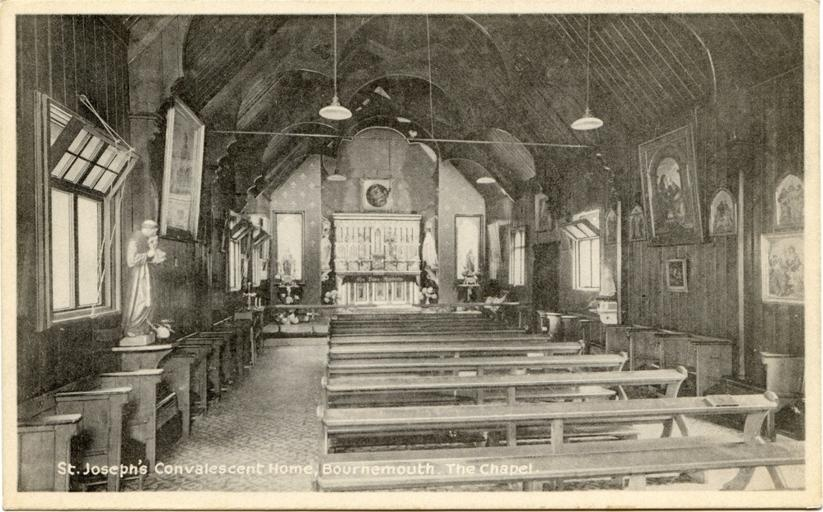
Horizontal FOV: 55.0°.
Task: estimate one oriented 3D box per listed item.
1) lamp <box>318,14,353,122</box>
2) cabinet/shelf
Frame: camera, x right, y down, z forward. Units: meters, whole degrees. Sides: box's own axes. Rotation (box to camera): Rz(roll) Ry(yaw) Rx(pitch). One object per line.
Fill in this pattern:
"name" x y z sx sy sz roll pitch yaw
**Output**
"lamp" -1.516 -3.859 15.773 0.763 3.008 0.764 5 -28 -13
"cabinet/shelf" -0.982 0.089 22.889 2.659 2.669 0.813 0 -17 -3
